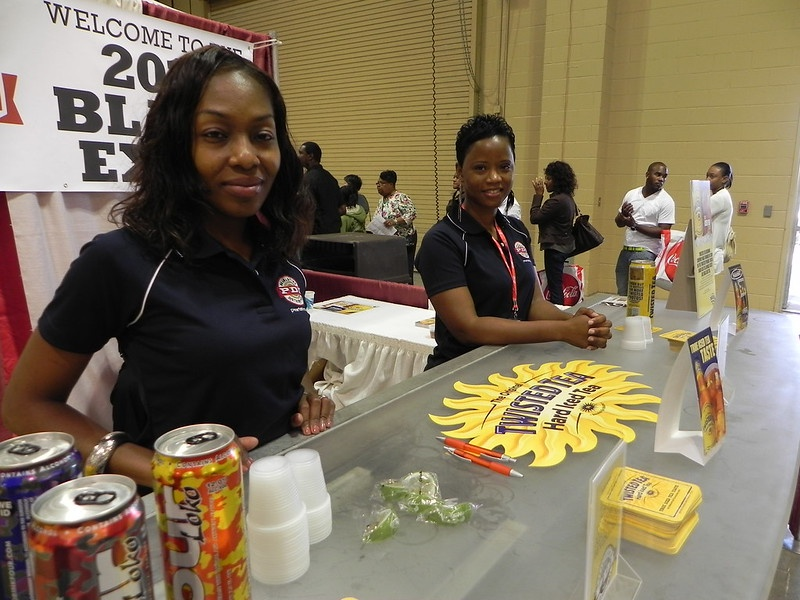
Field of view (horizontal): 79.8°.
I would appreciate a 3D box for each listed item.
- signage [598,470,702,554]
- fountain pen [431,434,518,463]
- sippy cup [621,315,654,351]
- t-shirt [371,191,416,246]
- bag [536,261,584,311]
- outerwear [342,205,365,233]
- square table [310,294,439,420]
[{"bbox_3d":[0.434,0.353,0.823,0.129,0.055,0.172,9,17,39],"label":"signage"},{"bbox_3d":[0.154,0.314,1.008,0.153,0.013,0.016,8,4,31],"label":"fountain pen"},{"bbox_3d":[0.785,0.111,1.619,0.077,0.101,0.130,0,2,20],"label":"sippy cup"},{"bbox_3d":[-0.063,-1.000,5.844,0.451,0.633,0.321,-3,14,-5],"label":"t-shirt"},{"bbox_3d":[1.300,-0.125,3.900,0.368,0.432,0.251,-19,1,-15],"label":"bag"},{"bbox_3d":[-0.586,-1.016,5.955,0.267,0.317,0.497,-2,13,0],"label":"outerwear"},{"bbox_3d":[-0.095,0.247,2.682,0.819,0.386,0.572,10,13,43],"label":"square table"}]
